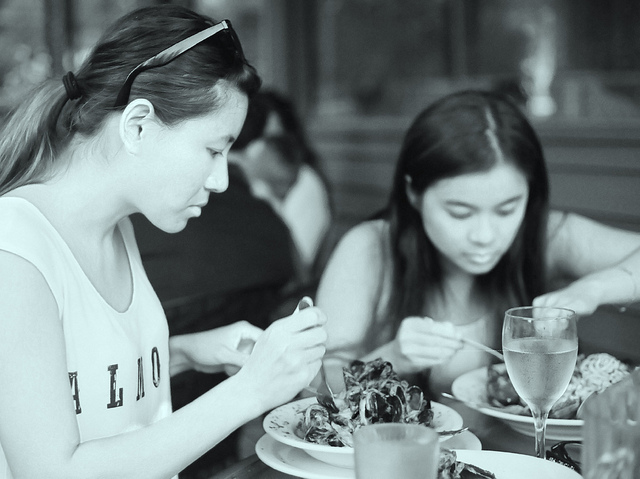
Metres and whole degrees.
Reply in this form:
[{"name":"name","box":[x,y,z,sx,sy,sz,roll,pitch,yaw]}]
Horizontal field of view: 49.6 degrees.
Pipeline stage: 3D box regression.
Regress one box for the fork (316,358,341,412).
[{"name":"fork","box":[0.012,0.244,1.085,0.017,0.016,0.115,-32,49,28]}]

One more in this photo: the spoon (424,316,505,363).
[{"name":"spoon","box":[0.322,0.228,1.542,0.224,0.022,0.025,31,45,-2]}]

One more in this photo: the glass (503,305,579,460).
[{"name":"glass","box":[0.300,0.202,0.950,0.095,0.192,0.070,1,12,15]}]

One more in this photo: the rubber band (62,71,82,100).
[{"name":"rubber band","box":[-0.385,-0.239,1.076,0.013,0.033,0.035,-23,44,-2]}]

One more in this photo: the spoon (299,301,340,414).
[{"name":"spoon","box":[0.004,0.207,1.061,0.037,0.232,0.032,-19,30,-20]}]
